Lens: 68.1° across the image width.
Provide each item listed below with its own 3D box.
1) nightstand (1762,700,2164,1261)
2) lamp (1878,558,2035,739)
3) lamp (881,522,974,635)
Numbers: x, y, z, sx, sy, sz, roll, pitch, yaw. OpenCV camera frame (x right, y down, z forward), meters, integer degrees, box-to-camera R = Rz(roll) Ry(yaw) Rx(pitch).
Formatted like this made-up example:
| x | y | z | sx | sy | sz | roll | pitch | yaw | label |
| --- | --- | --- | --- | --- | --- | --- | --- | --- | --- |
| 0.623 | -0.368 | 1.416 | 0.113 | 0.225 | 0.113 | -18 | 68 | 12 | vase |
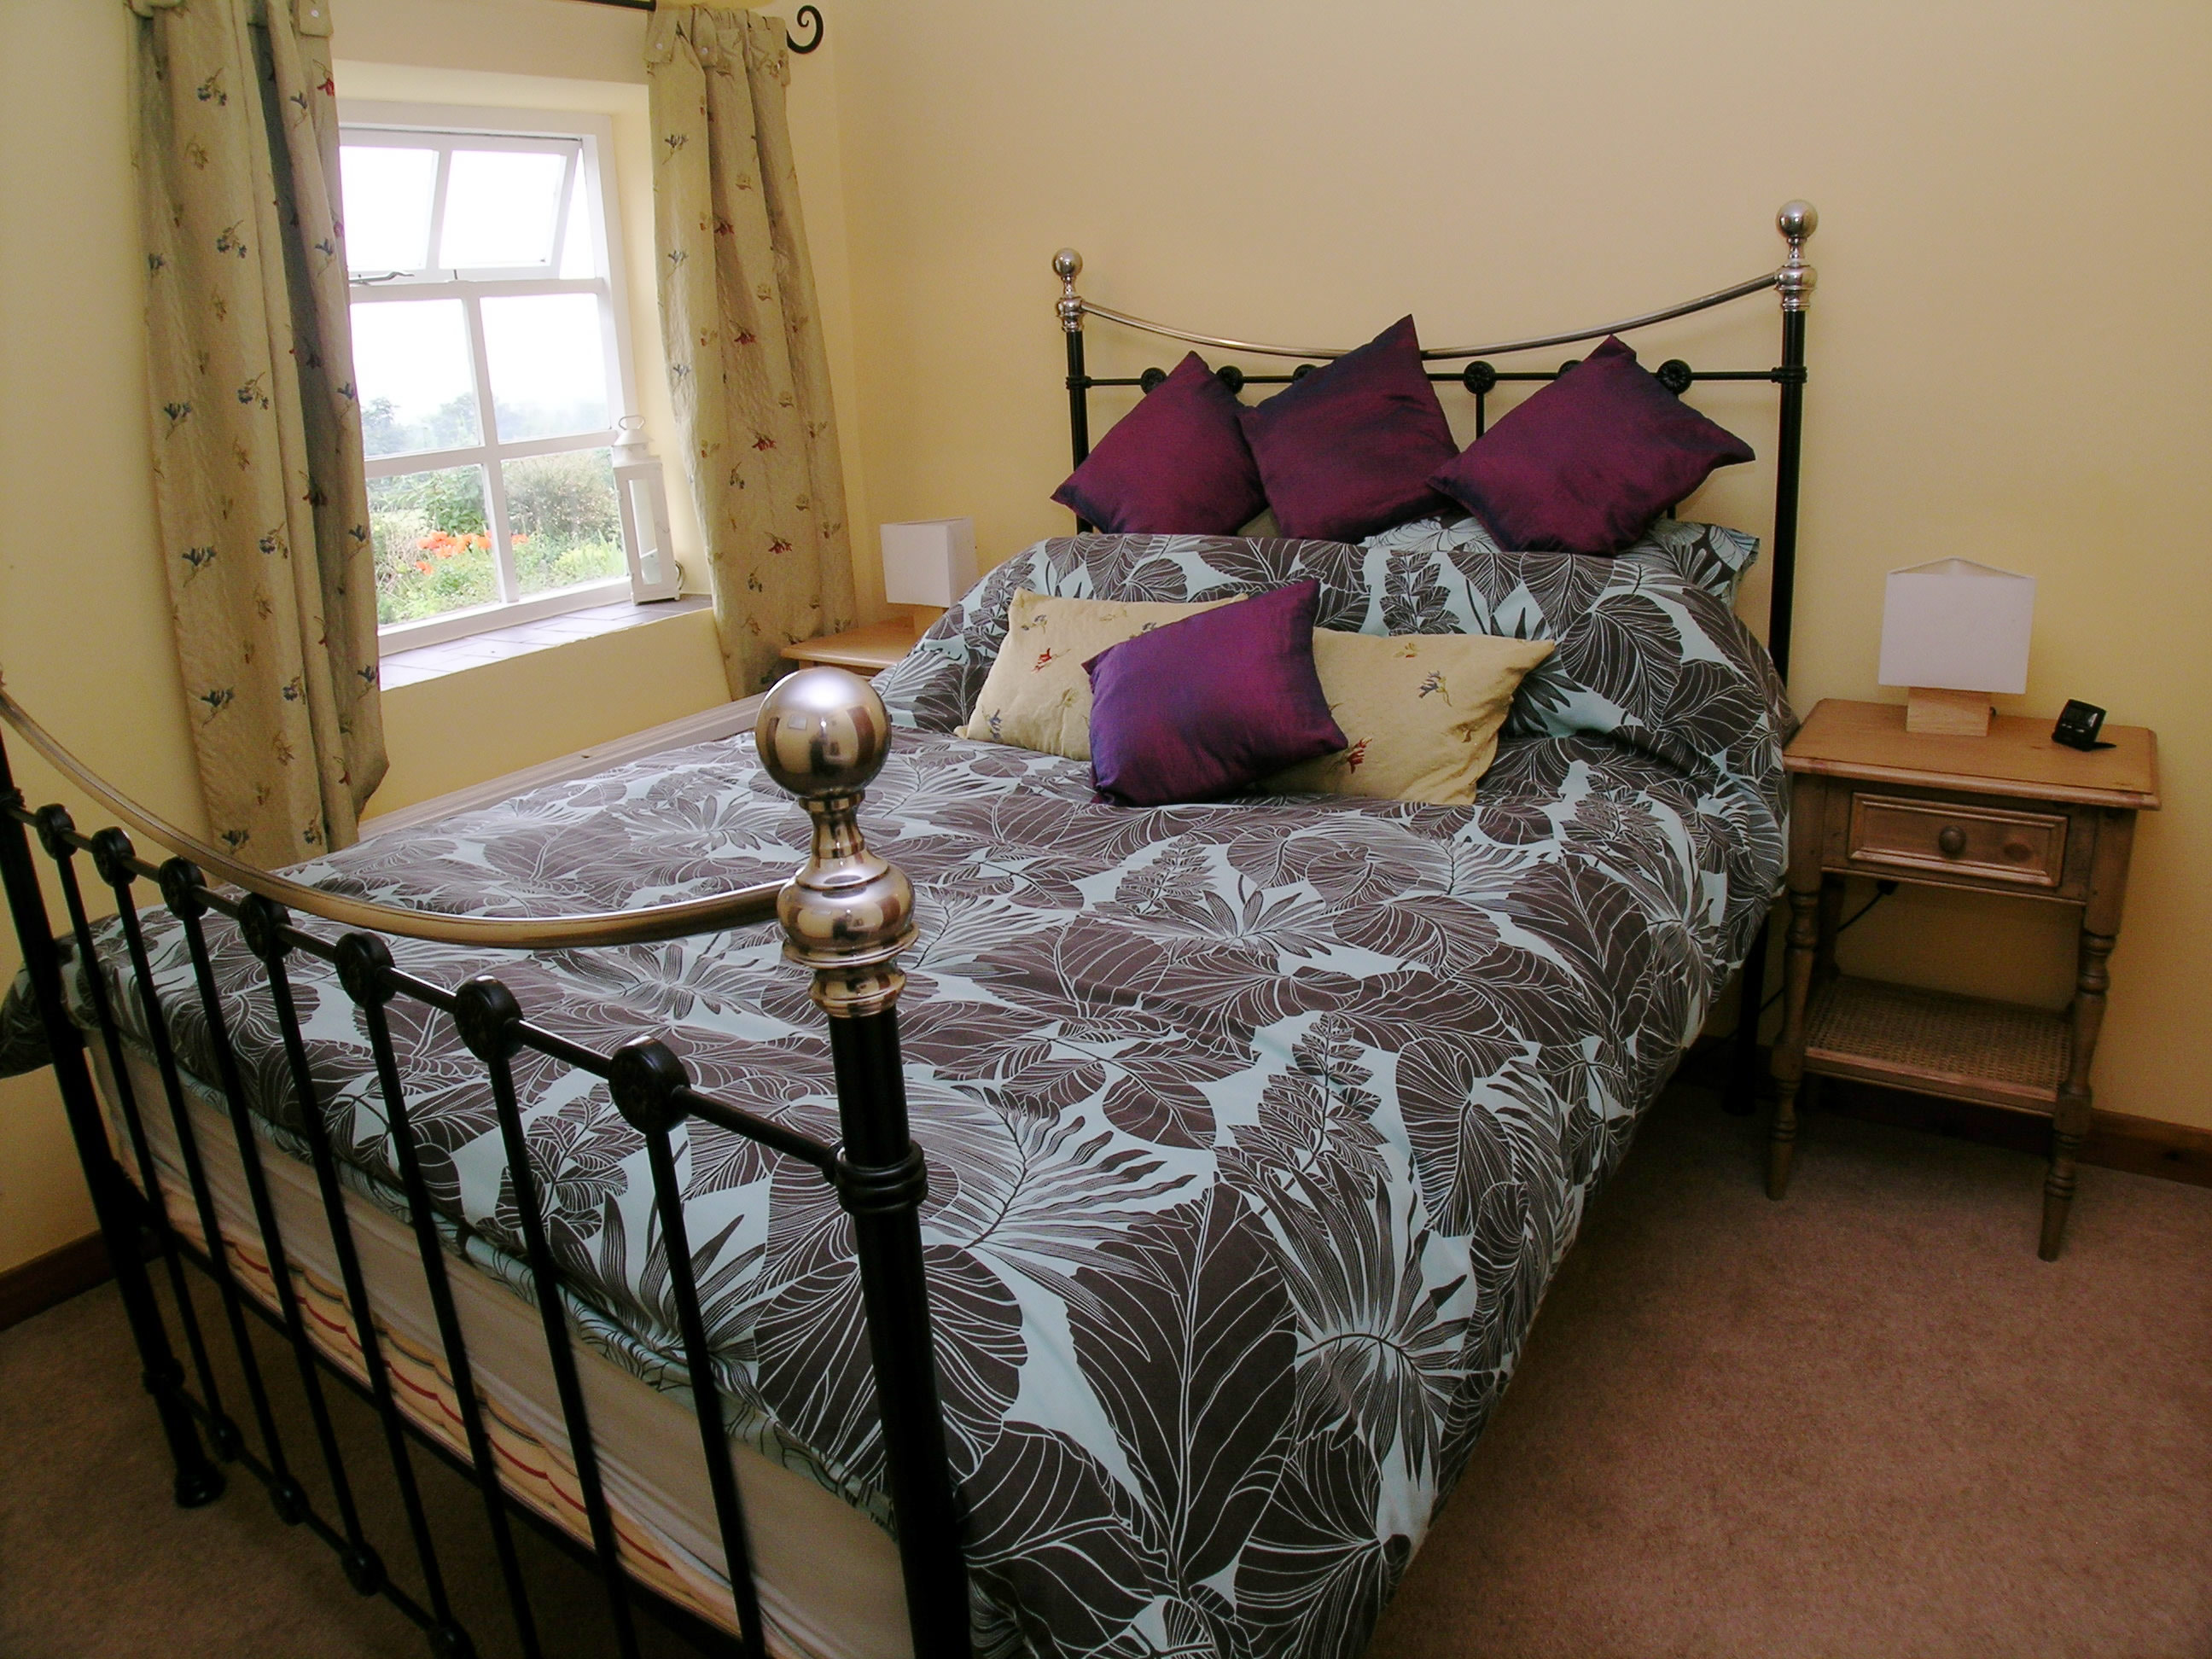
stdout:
| x | y | z | sx | sy | sz | roll | pitch | yaw | label |
| --- | --- | --- | --- | --- | --- | --- | --- | --- | --- |
| 1.477 | 0.231 | 2.906 | 0.543 | 0.839 | 0.486 | 9 | 20 | 28 | nightstand |
| 1.467 | -0.315 | 2.815 | 0.284 | 0.374 | 0.205 | 5 | 13 | 29 | lamp |
| -0.433 | -0.599 | 3.871 | 0.227 | 0.216 | 0.228 | 11 | 21 | 36 | lamp |
